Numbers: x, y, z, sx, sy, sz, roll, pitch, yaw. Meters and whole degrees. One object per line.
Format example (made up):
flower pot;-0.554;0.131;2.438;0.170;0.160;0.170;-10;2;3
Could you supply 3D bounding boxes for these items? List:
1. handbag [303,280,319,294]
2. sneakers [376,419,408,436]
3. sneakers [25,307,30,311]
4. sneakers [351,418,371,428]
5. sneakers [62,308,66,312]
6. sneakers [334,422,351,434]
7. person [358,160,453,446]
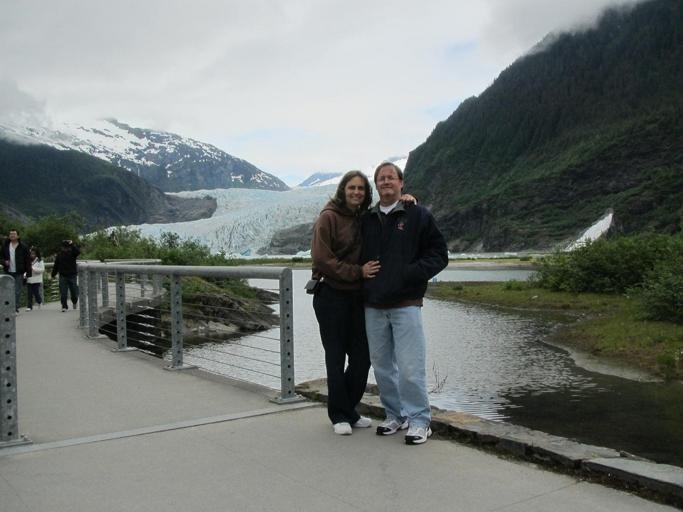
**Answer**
handbag;-0.307;0.297;5.411;0.164;0.100;0.234;0;0;25
sneakers;0.499;1.664;5.459;0.325;0.138;0.108;6;-9;-33
sneakers;-9.752;1.699;17.643;0.275;0.116;0.120;-2;-2;38
sneakers;0.205;1.650;5.603;0.196;0.084;0.070;-4;6;-33
sneakers;-8.142;1.626;16.620;0.075;0.076;0.178;-1;-8;-12
sneakers;0.016;1.646;5.360;0.165;0.079;0.130;0;0;-3
person;0.570;0.411;5.338;0.771;1.949;0.425;1;0;37
